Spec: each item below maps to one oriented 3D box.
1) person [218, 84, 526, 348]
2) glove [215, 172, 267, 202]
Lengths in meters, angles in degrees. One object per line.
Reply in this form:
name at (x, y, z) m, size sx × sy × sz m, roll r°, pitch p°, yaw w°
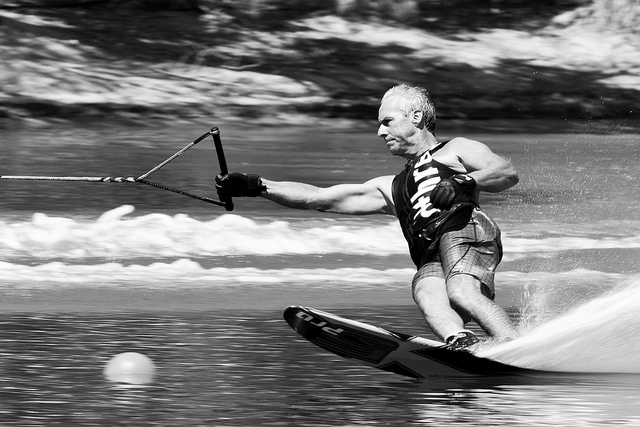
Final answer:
person at (0.795, -0.027, 8.684) m, size 1.118 × 2.036 × 1.535 m, roll -8°, pitch 11°, yaw -35°
glove at (-0.635, -0.221, 8.774) m, size 0.407 × 0.231 × 0.358 m, roll -1°, pitch 6°, yaw -2°
